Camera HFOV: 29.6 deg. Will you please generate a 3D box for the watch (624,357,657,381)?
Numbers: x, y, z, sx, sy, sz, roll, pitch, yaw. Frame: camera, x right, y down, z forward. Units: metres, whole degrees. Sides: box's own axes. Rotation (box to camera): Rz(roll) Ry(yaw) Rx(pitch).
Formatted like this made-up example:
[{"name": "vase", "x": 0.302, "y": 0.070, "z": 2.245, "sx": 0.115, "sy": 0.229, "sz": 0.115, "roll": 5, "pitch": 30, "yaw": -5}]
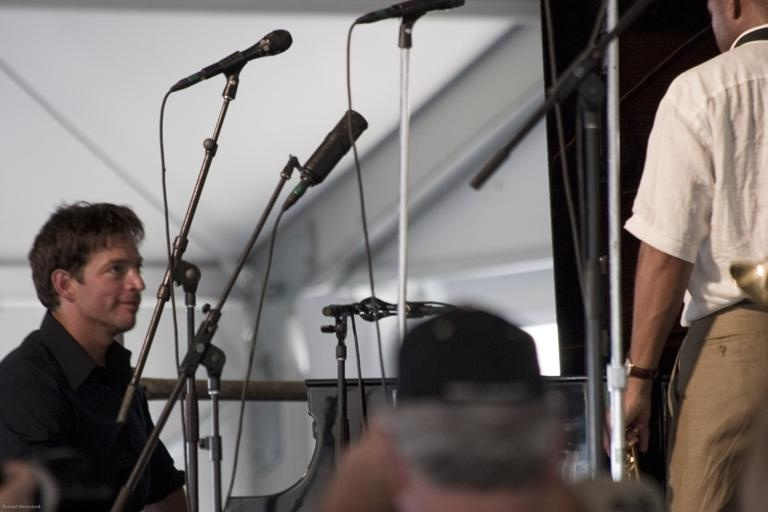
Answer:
[{"name": "watch", "x": 1.098, "y": 0.473, "z": 6.164, "sx": 0.099, "sy": 0.050, "sz": 0.100, "roll": 2, "pitch": -3, "yaw": 34}]
